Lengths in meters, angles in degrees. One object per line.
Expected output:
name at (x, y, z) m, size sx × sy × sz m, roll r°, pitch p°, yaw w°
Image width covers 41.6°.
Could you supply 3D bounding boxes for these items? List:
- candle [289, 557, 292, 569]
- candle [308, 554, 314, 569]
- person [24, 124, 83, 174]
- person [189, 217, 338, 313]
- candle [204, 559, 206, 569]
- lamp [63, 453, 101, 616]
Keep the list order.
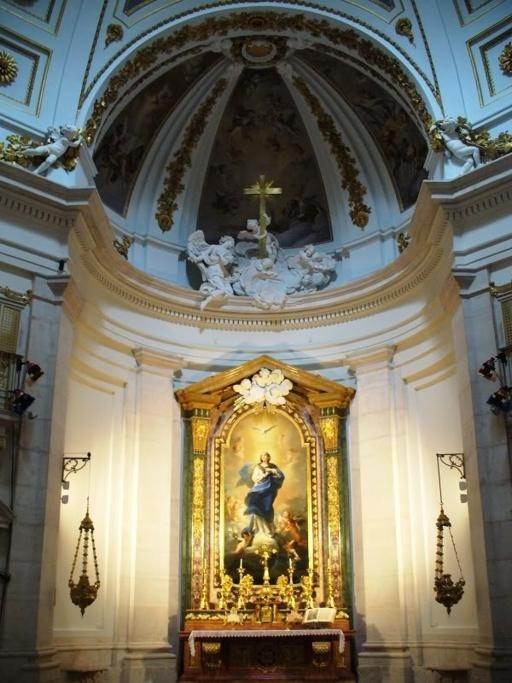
candle at (0.438, 2.893, 8.749) m, size 0.048 × 0.141 × 0.030 m, roll 0°, pitch -21°, yaw -4°
candle at (0.701, 2.875, 8.720) m, size 0.073 × 0.190 × 0.083 m, roll -7°, pitch -21°, yaw 14°
person at (-2.176, -2.133, 7.374) m, size 0.367 × 0.741 × 0.260 m, roll 44°, pitch -40°, yaw 2°
person at (0.022, -1.095, 10.415) m, size 2.036 × 1.344 × 0.689 m, roll 14°, pitch -30°, yaw 11°
candle at (-0.653, 2.892, 8.706) m, size 0.043 × 0.115 × 0.011 m, roll 15°, pitch -26°, yaw -37°
lamp at (-1.957, 2.127, 7.592) m, size 0.483 × 1.836 × 1.222 m, roll 3°, pitch -21°, yaw -12°
